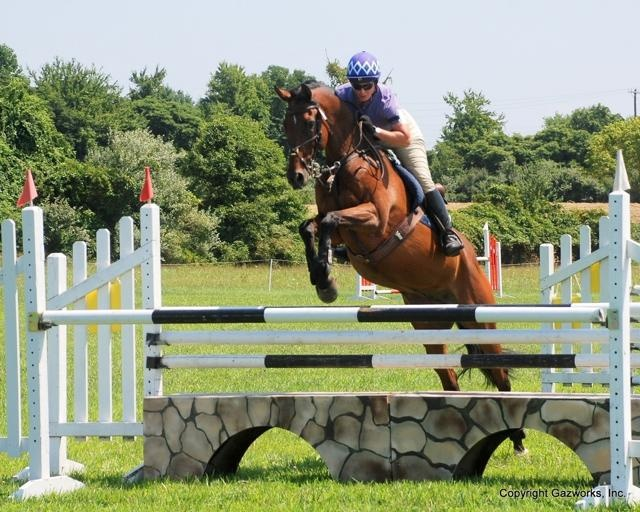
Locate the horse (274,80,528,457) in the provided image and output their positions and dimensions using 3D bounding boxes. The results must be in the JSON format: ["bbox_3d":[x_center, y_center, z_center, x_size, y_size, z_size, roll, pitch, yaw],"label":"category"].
[{"bbox_3d":[0.759,-0.232,15.209,2.619,4.846,2.076,0,1,5],"label":"horse"}]

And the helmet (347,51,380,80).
[{"bbox_3d":[0.454,-2.032,14.293,0.330,0.300,0.272,-3,0,0],"label":"helmet"}]

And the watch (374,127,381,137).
[{"bbox_3d":[0.617,-1.328,14.368,0.050,0.083,0.084,6,43,0],"label":"watch"}]

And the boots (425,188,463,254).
[{"bbox_3d":[1.344,-0.381,14.534,0.288,0.816,0.230,0,6,29],"label":"boots"}]

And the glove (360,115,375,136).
[{"bbox_3d":[0.511,-1.399,14.368,0.066,0.198,0.144,-33,-9,-2],"label":"glove"}]
